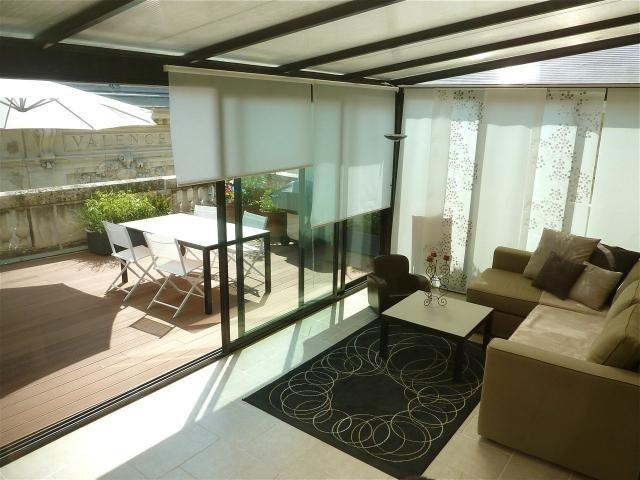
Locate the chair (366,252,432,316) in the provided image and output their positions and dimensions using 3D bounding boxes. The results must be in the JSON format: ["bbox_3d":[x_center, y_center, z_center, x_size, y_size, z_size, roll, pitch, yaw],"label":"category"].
[{"bbox_3d":[1.106,0.641,6.199,0.800,0.688,0.623,-5,17,-18],"label":"chair"}]

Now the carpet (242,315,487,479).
[{"bbox_3d":[0.561,1.676,4.588,1.402,0.013,2.056,12,21,35],"label":"carpet"}]

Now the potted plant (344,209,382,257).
[{"bbox_3d":[0.691,-0.131,7.063,0.443,0.466,0.767,11,17,38],"label":"potted plant"}]

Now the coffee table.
[{"bbox_3d":[1.190,1.280,5.311,1.308,0.464,1.222,18,-9,-27],"label":"coffee table"}]

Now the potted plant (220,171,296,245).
[{"bbox_3d":[-0.941,-0.379,5.782,0.953,1.089,1.070,3,15,15],"label":"potted plant"}]

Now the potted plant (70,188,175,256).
[{"bbox_3d":[-3.857,-0.553,8.423,1.395,1.199,1.834,2,10,11],"label":"potted plant"}]
